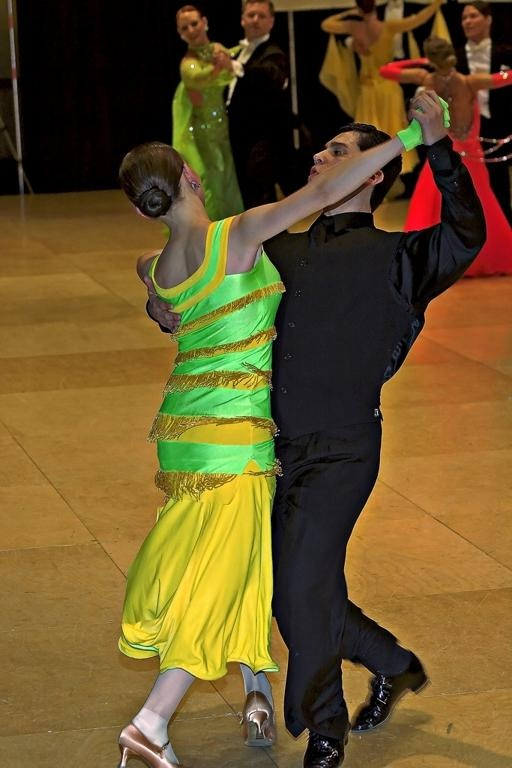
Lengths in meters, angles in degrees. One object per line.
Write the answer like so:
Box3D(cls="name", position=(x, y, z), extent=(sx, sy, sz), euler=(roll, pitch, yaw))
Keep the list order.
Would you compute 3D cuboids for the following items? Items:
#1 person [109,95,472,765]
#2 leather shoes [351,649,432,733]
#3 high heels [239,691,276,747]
Box3D(cls="person", position=(-0.074, 0.064, 1.731), extent=(0.523, 1.166, 0.435), euler=(-10, 20, -26))
Box3D(cls="leather shoes", position=(0.365, 0.840, 2.097), extent=(0.126, 0.273, 0.086), euler=(45, 5, -31))
Box3D(cls="high heels", position=(0.000, 0.857, 1.996), extent=(0.066, 0.068, 0.163), euler=(-2, 17, 1))
